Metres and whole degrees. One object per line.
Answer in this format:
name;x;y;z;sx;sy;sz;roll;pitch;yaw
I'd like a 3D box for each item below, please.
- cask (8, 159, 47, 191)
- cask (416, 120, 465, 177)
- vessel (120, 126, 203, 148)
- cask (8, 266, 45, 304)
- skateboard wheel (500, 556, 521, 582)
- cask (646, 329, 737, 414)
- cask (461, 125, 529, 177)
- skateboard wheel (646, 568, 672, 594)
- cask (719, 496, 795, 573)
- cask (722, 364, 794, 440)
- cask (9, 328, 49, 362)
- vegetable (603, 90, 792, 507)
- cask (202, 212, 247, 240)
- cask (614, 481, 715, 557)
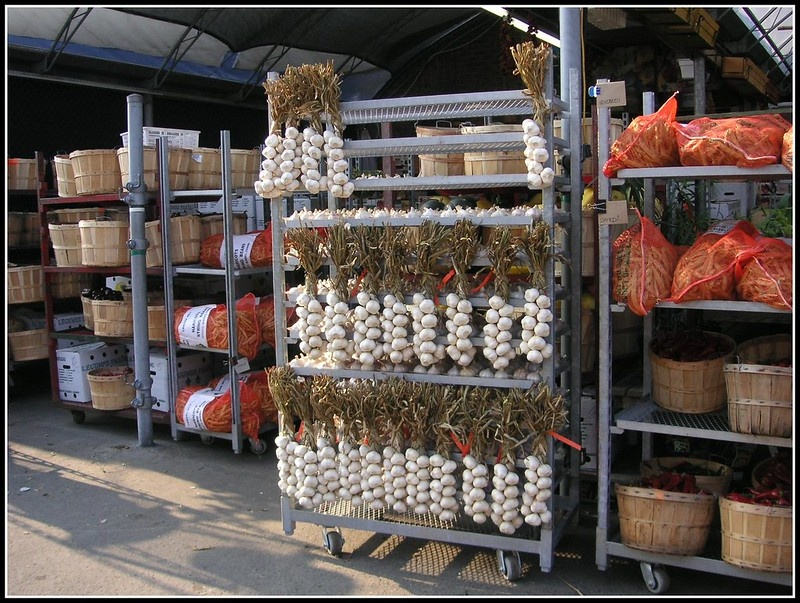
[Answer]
cask;-4.003;-1.342;7.404;0.350;0.359;1.228;-8;14;-28
cask;0.290;-1.033;4.724;0.429;0.353;0.389;-6;12;-20
vessel;-2.036;-1.436;6.107;0.519;0.191;0.338;-7;11;-40
cask;-4.084;-0.173;7.599;0.474;0.351;0.494;-1;-3;-45
skateboard wheel;0.657;1.574;4.082;0.142;0.151;0.071;-1;-11;-15
cask;1.720;0.388;4.210;0.486;0.336;0.473;-6;10;-26
cask;0.604;-0.909;4.404;0.373;0.239;0.398;-3;2;-19
skateboard wheel;1.487;1.590;3.949;0.130;0.138;0.071;0;12;4
cask;2.006;1.263;3.799;0.372;0.269;0.335;6;-8;-28
cask;1.959;0.528;3.746;0.382;0.341;0.323;-1;-2;23
cask;-4.106;0.485;7.627;0.443;0.311;0.417;-8;-4;44
vegetable;1.688;0.027;3.962;1.143;2.347;0.699;2;13;14
cask;-1.582;-0.679;6.232;0.287;0.201;0.283;-1;2;17
cask;1.570;1.286;4.118;0.647;0.354;0.616;10;-22;-1
